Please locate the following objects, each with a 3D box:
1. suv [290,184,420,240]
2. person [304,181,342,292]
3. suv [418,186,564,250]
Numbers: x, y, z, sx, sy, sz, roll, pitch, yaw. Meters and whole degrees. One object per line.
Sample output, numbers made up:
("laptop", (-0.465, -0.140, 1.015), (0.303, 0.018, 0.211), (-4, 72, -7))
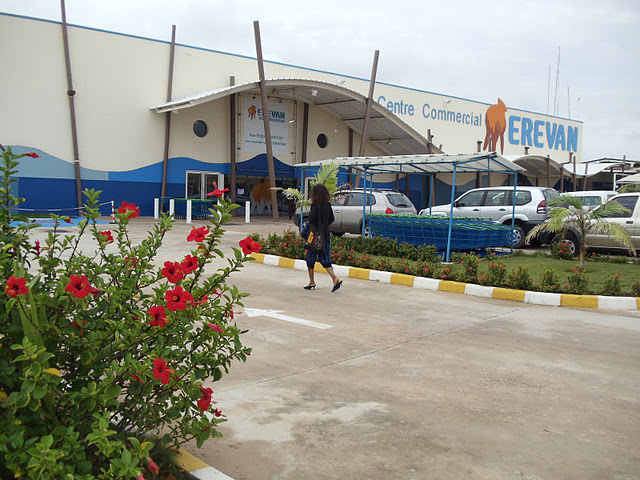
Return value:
("suv", (1.422, -1.412, 18.461), (4.421, 2.086, 2.166), (5, 5, 28))
("person", (0.031, -0.127, 10.044), (0.848, 2.313, 1.306), (1, 5, 2))
("suv", (6.398, -1.214, 17.763), (5.155, 2.292, 2.508), (7, 7, 38))
